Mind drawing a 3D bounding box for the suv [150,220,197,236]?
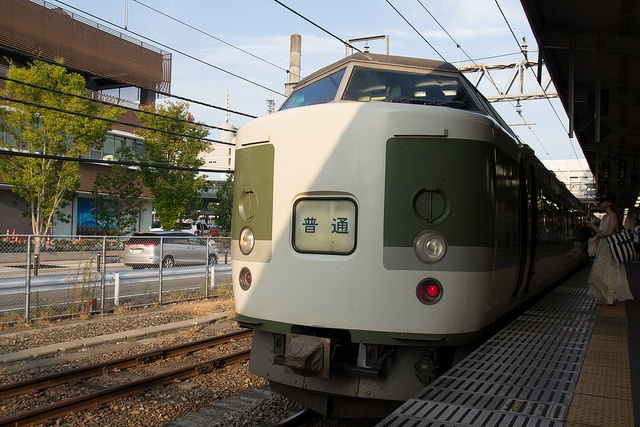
[{"bbox_3d":[-10.507,1.035,35.038,1.709,0.962,1.050,7,-8,-15],"label":"suv"}]

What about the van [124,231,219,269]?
[{"bbox_3d":[-6.401,1.610,20.456,2.001,1.664,4.526,0,1,25],"label":"van"}]

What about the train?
[{"bbox_3d":[1.096,0.067,6.876,4.553,4.858,2.227,-4,0,-23],"label":"train"}]

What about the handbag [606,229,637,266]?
[{"bbox_3d":[5.482,0.623,8.700,0.455,0.662,0.489,-5,-1,25],"label":"handbag"}]

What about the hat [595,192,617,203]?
[{"bbox_3d":[5.234,-0.279,8.753,0.318,0.192,0.219,1,-3,8],"label":"hat"}]
